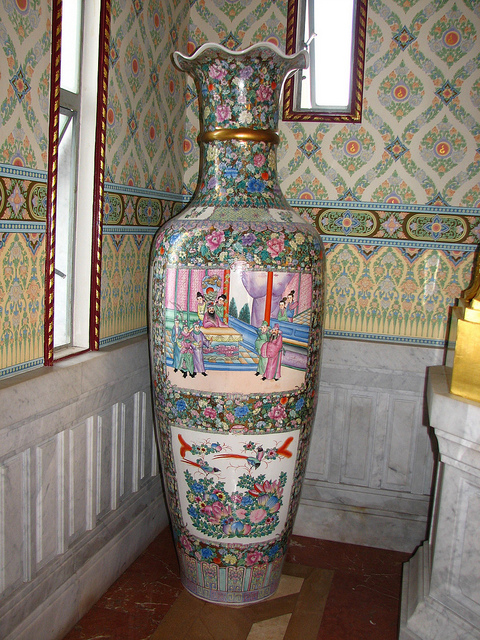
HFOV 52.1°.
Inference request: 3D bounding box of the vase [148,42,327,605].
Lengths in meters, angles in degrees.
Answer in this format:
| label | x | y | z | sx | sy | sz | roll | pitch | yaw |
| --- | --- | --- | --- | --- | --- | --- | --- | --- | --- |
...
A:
| label | x | y | z | sx | sy | sz | roll | pitch | yaw |
| --- | --- | --- | --- | --- | --- | --- | --- | --- | --- |
| vase | -0.022 | 0.087 | 1.642 | 0.560 | 1.812 | 0.411 | 3 | 0 | 11 |
